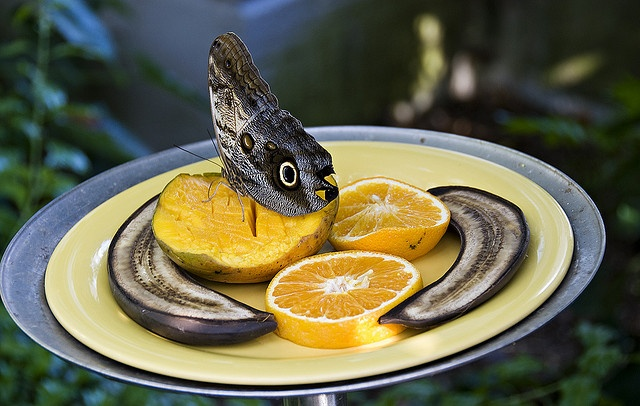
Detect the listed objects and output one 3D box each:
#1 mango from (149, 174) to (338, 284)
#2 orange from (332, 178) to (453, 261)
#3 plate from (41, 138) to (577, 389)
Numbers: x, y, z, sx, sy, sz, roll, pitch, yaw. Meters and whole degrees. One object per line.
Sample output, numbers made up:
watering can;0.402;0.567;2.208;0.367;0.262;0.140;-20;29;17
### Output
mango;-0.225;0.086;1.893;0.490;0.176;0.397;20;42;24
orange;0.192;0.039;1.892;0.242;0.113;0.265;-23;44;-14
plate;-0.045;0.148;1.782;0.785;0.090;0.807;15;30;35
